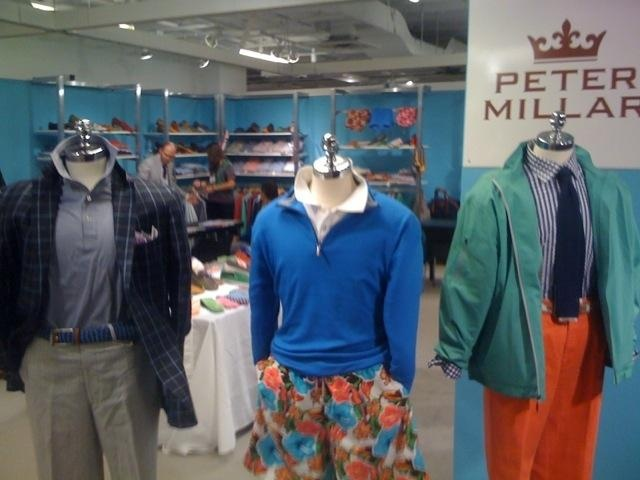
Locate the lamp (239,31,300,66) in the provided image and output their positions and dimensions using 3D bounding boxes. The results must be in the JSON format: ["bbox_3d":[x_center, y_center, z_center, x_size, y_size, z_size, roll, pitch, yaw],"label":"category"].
[{"bbox_3d":[-0.795,-3.017,8.559,0.766,0.205,0.744,5,5,13],"label":"lamp"}]

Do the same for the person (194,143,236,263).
[{"bbox_3d":[-1.537,-0.457,8.162,0.561,1.938,0.582,0,0,19],"label":"person"}]

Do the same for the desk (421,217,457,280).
[{"bbox_3d":[2.047,0.186,9.193,0.936,1.022,0.543,3,-1,-13],"label":"desk"}]

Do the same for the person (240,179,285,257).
[{"bbox_3d":[-0.536,-0.301,6.153,0.286,1.007,0.432,12,-33,2],"label":"person"}]

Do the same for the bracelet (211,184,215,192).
[{"bbox_3d":[-1.591,-0.767,8.107,0.092,0.101,0.182,-3,10,-12],"label":"bracelet"}]

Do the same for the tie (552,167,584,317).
[{"bbox_3d":[1.141,0.008,2.469,0.136,0.655,0.236,3,9,24],"label":"tie"}]

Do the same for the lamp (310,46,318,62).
[{"bbox_3d":[-0.093,-3.350,9.821,0.179,0.199,0.356,-1,14,1],"label":"lamp"}]

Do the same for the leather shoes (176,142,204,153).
[{"bbox_3d":[-2.195,-1.585,9.392,0.524,0.227,0.177,-7,11,-36],"label":"leather shoes"}]

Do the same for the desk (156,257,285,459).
[{"bbox_3d":[-0.682,0.897,3.835,0.810,0.475,0.883,3,7,24],"label":"desk"}]
